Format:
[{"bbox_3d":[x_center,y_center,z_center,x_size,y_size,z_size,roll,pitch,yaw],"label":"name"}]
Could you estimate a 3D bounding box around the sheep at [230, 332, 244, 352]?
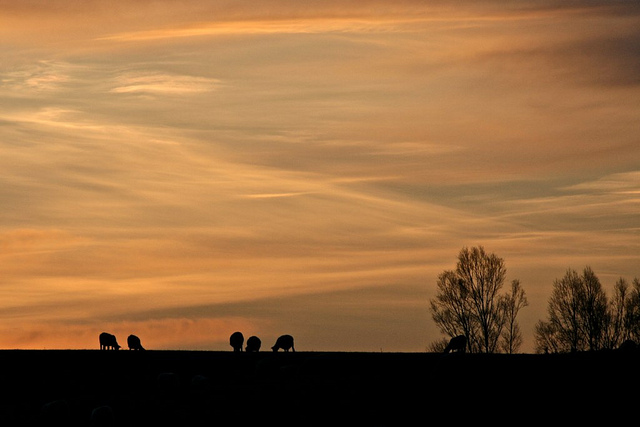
[{"bbox_3d":[-9.619,14.577,164.474,1.347,1.824,1.124,-3,-10,0],"label":"sheep"}]
